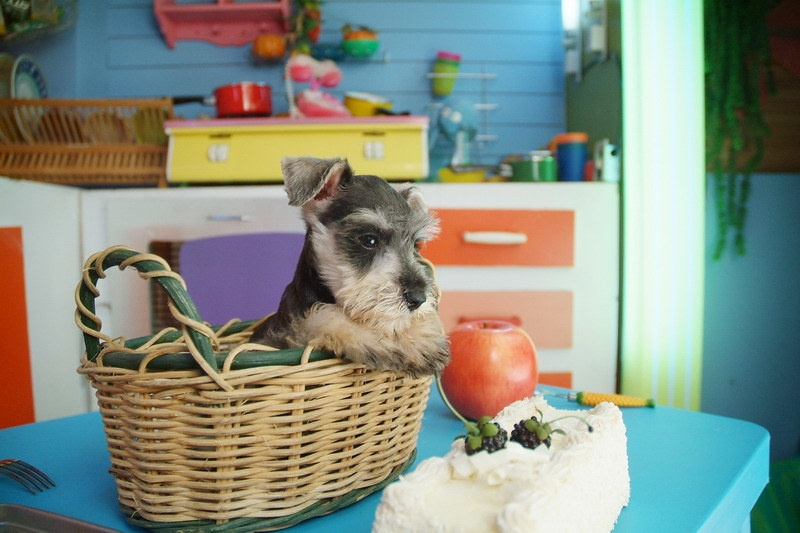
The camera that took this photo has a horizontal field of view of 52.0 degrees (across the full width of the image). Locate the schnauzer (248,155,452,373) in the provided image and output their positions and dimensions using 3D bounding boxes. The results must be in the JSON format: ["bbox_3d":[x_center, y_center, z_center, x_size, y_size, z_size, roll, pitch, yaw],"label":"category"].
[{"bbox_3d":[-0.161,0.009,2.452,0.556,0.559,0.884,3,1,-40],"label":"schnauzer"}]

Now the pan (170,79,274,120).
[{"bbox_3d":[-0.755,-0.697,3.514,0.422,0.115,0.180,-6,-3,-2],"label":"pan"}]

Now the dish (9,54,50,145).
[{"bbox_3d":[-1.530,-0.729,3.438,0.299,0.309,0.050,7,12,32],"label":"dish"}]

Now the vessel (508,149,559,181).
[{"bbox_3d":[0.547,-0.406,3.395,0.161,0.109,0.126,0,1,23],"label":"vessel"}]

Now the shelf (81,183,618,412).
[{"bbox_3d":[0.000,0.173,3.414,1.607,0.889,0.555,-1,-12,-14],"label":"shelf"}]

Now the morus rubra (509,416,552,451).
[{"bbox_3d":[0.334,0.416,2.077,0.087,0.067,0.070,-4,5,-9],"label":"morus rubra"}]
